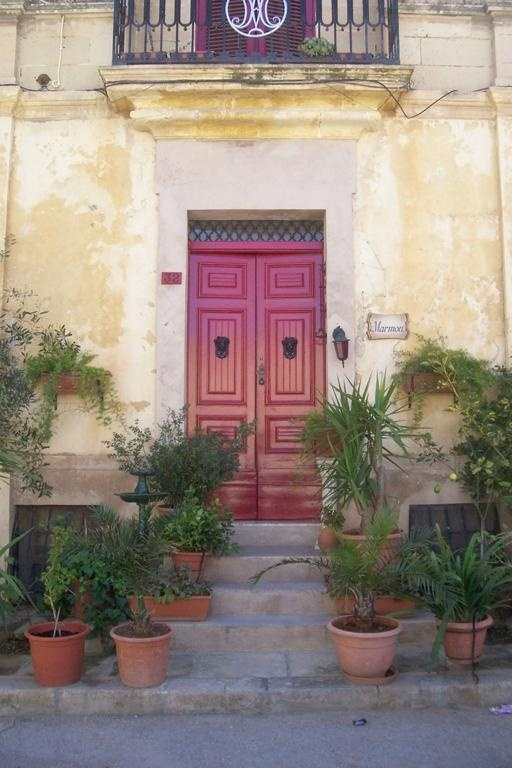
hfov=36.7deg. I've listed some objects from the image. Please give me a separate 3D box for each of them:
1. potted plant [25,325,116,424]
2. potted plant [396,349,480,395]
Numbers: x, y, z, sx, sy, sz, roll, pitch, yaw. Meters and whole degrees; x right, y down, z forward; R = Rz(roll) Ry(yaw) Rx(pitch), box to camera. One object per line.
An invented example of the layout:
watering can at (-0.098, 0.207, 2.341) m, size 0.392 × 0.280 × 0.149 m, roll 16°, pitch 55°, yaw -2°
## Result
potted plant at (-1.393, -0.088, 6.118) m, size 0.608 × 0.409 × 0.564 m, roll -5°, pitch -2°, yaw 29°
potted plant at (1.381, -0.099, 5.830) m, size 0.483 × 0.241 × 0.385 m, roll 1°, pitch -5°, yaw -5°
